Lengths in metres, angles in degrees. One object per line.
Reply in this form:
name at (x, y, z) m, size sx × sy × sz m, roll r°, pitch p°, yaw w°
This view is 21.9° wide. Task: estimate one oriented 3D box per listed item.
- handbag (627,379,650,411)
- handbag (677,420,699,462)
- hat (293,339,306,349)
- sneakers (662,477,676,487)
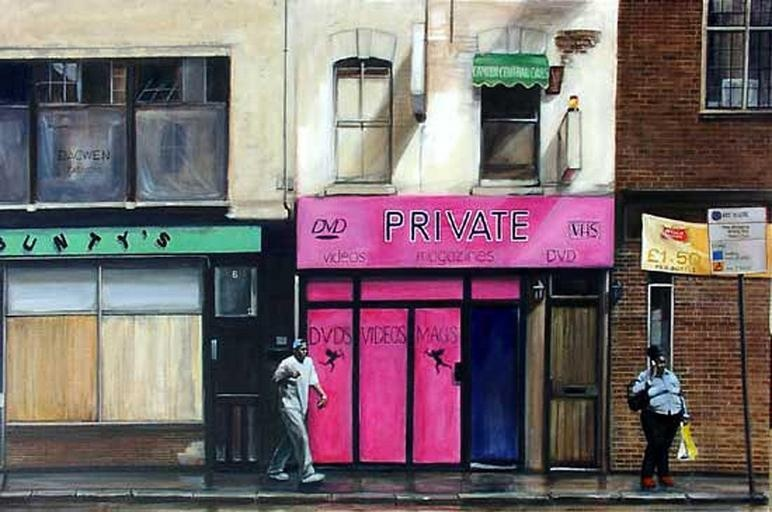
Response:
handbag at (4.917, 2.828, 38.921) m, size 0.387 × 0.428 × 0.507 m, roll 1°, pitch -5°, yaw 1°
handbag at (5.815, 3.565, 38.878) m, size 0.484 × 0.774 × 0.375 m, roll 2°, pitch 12°, yaw 11°
hat at (-1.694, 1.735, 39.203) m, size 0.231 × 0.141 × 0.161 m, roll -2°, pitch 2°, yaw -29°
sneakers at (5.528, 4.435, 38.939) m, size 0.282 × 0.185 × 0.142 m, roll 0°, pitch 0°, yaw -8°
